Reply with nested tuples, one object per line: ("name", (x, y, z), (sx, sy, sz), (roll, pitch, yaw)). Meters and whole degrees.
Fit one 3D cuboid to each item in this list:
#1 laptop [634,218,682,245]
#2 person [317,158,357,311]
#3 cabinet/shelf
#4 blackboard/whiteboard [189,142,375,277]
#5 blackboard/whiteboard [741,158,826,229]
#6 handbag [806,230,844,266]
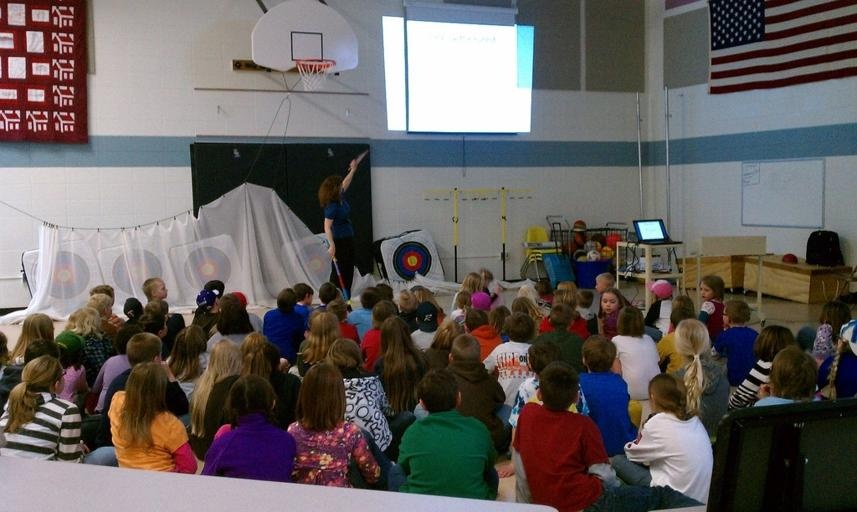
("laptop", (3.636, -0.404, 10.994), (0.507, 0.512, 0.328), (2, -13, -4))
("person", (-1.299, -0.312, 10.259), (0.391, 2.457, 0.877), (-1, 6, 29))
("cabinet/shelf", (3.947, -0.151, 12.003), (0.983, 0.748, 1.372), (35, -10, 20))
("blackboard/whiteboard", (-2.539, -0.912, 12.078), (3.113, 2.612, 0.266), (-1, -21, -13))
("blackboard/whiteboard", (6.375, -1.129, 12.163), (0.050, 1.224, 1.374), (-5, 6, -44))
("handbag", (6.739, -0.135, 11.390), (0.276, 0.571, 0.515), (7, -7, -40))
